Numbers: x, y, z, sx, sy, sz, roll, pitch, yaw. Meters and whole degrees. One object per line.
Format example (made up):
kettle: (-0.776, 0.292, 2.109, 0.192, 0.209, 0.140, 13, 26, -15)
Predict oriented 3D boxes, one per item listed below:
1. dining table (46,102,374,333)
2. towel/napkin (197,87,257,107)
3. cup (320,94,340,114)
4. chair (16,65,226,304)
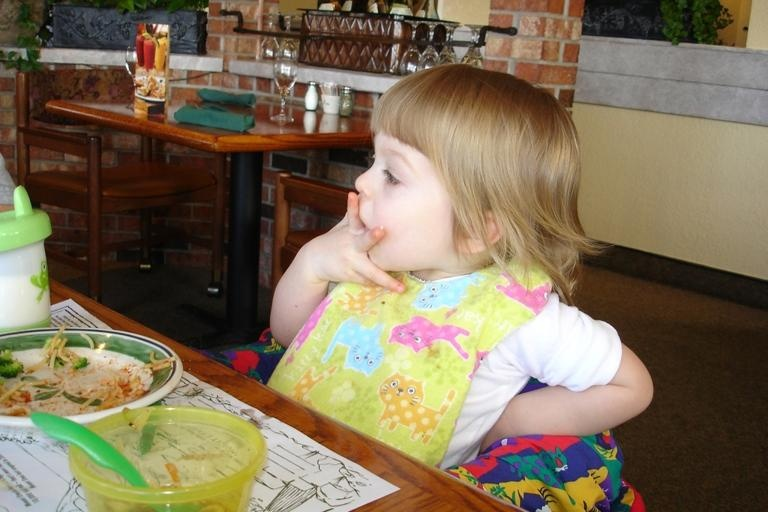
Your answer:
dining table: (-0.788, -0.244, 2.783, 1.162, 1.127, 1.164, -17, 35, -35)
towel/napkin: (-0.691, -0.698, 2.496, 0.196, 0.064, 0.276, -6, 24, -26)
cup: (-0.264, -0.768, 2.856, 0.090, 0.069, 0.084, 2, 13, 0)
chair: (-1.388, -0.395, 3.072, 0.794, 1.220, 0.898, 10, 15, 23)
